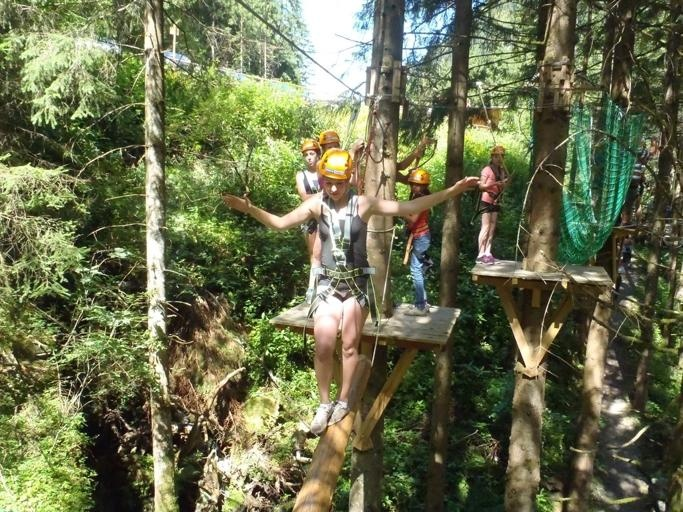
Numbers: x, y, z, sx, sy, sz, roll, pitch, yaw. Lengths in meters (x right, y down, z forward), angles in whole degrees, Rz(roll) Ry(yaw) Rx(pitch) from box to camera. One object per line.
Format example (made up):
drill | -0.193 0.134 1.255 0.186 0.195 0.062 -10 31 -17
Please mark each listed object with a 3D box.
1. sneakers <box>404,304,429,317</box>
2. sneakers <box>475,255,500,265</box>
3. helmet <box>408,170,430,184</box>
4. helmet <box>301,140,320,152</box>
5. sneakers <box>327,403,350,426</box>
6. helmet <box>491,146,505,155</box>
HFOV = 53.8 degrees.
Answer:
sneakers | 1.191 0.837 10.513 0.399 0.209 0.159 5 11 16
sneakers | 2.549 0.030 11.725 0.339 0.180 0.156 4 6 31
helmet | 1.322 -1.347 11.339 0.288 0.170 0.232 2 19 -24
helmet | -0.514 -1.884 11.601 0.299 0.260 0.461 0 11 7
sneakers | -0.012 1.952 8.626 0.135 0.175 0.391 13 47 36
helmet | 2.754 -1.858 11.833 0.192 0.230 0.274 0 6 15
